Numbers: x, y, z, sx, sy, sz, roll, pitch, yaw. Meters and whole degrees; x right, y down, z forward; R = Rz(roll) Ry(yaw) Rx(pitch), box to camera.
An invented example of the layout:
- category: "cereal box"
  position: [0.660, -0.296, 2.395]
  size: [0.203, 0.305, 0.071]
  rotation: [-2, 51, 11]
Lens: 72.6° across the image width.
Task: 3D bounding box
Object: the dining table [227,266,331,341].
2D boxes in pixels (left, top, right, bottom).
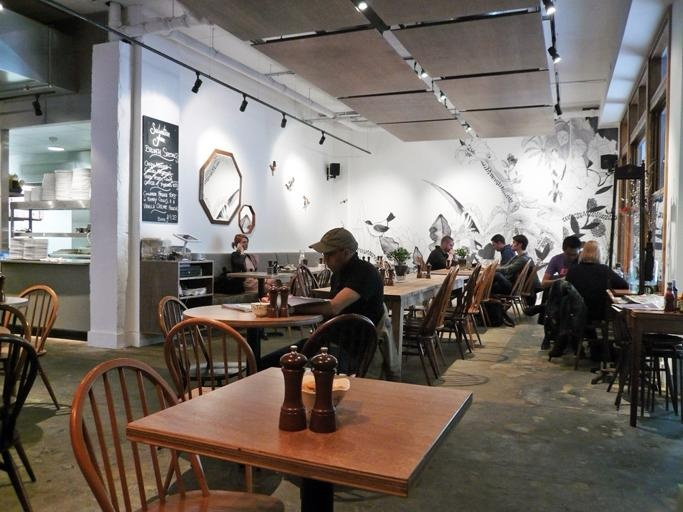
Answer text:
- category: "dining table"
  position: [-0.905, 0.598, 6.635]
  size: [0.800, 0.814, 0.833]
  rotation: [1, 1, 18]

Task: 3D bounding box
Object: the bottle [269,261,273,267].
- category: "bottle"
  position: [-1.253, 0.141, 8.320]
  size: [0.080, 0.097, 0.082]
  rotation: [-1, 4, -17]

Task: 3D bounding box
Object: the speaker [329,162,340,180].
- category: "speaker"
  position: [-0.225, -2.257, 12.295]
  size: [0.398, 0.409, 0.294]
  rotation: [1, 9, -4]

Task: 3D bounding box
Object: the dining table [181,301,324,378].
- category: "dining table"
  position: [-0.667, 0.466, 3.394]
  size: [0.627, 0.435, 0.651]
  rotation: [2, -1, 6]

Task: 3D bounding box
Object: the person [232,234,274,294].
- category: "person"
  position: [-1.563, 0.110, 8.403]
  size: [0.755, 0.933, 0.660]
  rotation: [-2, -4, 31]

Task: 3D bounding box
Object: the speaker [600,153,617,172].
- category: "speaker"
  position: [5.797, -2.042, 10.140]
  size: [0.328, 0.406, 0.333]
  rotation: [2, 4, 29]

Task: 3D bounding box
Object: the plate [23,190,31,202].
- category: "plate"
  position: [-5.024, -0.970, 7.501]
  size: [0.308, 0.190, 0.046]
  rotation: [3, 4, 41]

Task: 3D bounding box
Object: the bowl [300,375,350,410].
- category: "bowl"
  position: [-0.049, 0.513, 1.756]
  size: [0.200, 0.086, 0.178]
  rotation: [14, -4, -41]

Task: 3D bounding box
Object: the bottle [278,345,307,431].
- category: "bottle"
  position: [-0.168, 0.460, 1.645]
  size: [0.096, 0.266, 0.154]
  rotation: [0, 3, -8]

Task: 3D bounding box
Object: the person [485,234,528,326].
- category: "person"
  position: [2.949, 0.418, 8.398]
  size: [0.872, 1.625, 0.626]
  rotation: [7, 0, 3]

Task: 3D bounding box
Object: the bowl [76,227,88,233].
- category: "bowl"
  position: [-3.892, -0.386, 7.041]
  size: [0.152, 0.069, 0.666]
  rotation: [-1, 4, -27]

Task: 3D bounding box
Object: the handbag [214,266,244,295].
- category: "handbag"
  position: [-1.855, 0.427, 7.886]
  size: [0.332, 0.179, 0.450]
  rotation: [4, 8, 17]

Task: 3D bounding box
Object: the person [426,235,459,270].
- category: "person"
  position: [1.899, 0.121, 8.976]
  size: [0.421, 0.984, 0.500]
  rotation: [10, -3, -15]

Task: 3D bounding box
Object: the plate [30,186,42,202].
- category: "plate"
  position: [-4.846, -0.983, 7.410]
  size: [0.309, 0.216, 0.067]
  rotation: [3, 4, 35]

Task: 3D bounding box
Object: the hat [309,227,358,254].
- category: "hat"
  position: [-0.045, -0.106, 3.380]
  size: [0.273, 0.169, 0.180]
  rotation: [6, -2, -5]

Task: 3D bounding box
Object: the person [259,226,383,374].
- category: "person"
  position: [-0.094, 0.303, 3.484]
  size: [1.056, 1.027, 0.636]
  rotation: [-4, 12, -16]

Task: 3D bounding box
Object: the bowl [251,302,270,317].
- category: "bowl"
  position: [-0.593, 0.393, 3.399]
  size: [0.095, 0.062, 0.098]
  rotation: [2, -2, 0]

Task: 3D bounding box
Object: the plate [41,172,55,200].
- category: "plate"
  position: [-4.502, -1.057, 7.189]
  size: [0.325, 0.415, 0.079]
  rotation: [3, 4, 34]

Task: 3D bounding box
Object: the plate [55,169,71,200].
- category: "plate"
  position: [-4.152, -1.069, 7.027]
  size: [0.398, 0.443, 0.126]
  rotation: [3, 4, 36]

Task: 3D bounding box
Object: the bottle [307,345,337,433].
- category: "bottle"
  position: [-0.061, 0.470, 1.586]
  size: [0.087, 0.256, 0.058]
  rotation: [-1, 3, -21]

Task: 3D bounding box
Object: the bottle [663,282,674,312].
- category: "bottle"
  position: [2.637, 0.326, 3.751]
  size: [0.066, 0.238, 0.193]
  rotation: [3, 4, 40]

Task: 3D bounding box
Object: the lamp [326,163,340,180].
- category: "lamp"
  position: [-0.247, -2.225, 12.324]
  size: [0.341, 0.538, 0.382]
  rotation: [3, 2, 45]

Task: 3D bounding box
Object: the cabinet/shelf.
- category: "cabinet/shelf"
  position: [-1.950, 0.445, 5.423]
  size: [0.411, 1.007, 1.120]
  rotation: [0, 0, 7]

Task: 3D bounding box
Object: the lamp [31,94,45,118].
- category: "lamp"
  position: [-4.429, -2.228, 6.842]
  size: [0.114, 0.322, 0.420]
  rotation: [-2, 4, -34]

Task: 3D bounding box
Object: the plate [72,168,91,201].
- category: "plate"
  position: [-3.834, -1.048, 6.868]
  size: [0.413, 0.475, 0.127]
  rotation: [3, 4, 31]
